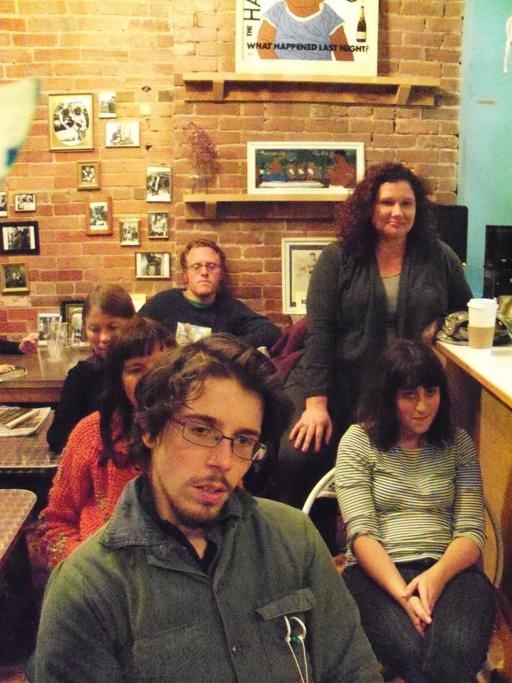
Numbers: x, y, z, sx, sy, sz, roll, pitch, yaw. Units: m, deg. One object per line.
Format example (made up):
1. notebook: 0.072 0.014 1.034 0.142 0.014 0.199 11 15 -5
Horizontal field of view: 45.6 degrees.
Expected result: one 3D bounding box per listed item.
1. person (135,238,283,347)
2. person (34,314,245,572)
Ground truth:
1. person: -0.308 -0.270 3.601 0.888 0.591 0.453 3 -1 -11
2. person: -0.585 0.353 2.441 0.587 1.133 0.356 0 9 -16
